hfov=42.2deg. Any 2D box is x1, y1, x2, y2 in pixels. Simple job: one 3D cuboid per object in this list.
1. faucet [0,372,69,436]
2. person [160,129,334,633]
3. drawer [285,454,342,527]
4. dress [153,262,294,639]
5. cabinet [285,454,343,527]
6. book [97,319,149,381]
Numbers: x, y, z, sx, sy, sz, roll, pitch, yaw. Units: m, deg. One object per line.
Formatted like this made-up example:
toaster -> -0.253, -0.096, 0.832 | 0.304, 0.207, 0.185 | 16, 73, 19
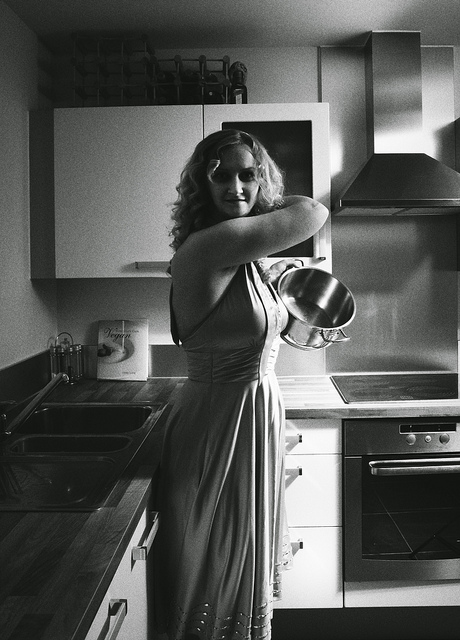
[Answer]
faucet -> -0.575, 0.249, 1.742 | 0.045, 0.106, 0.307 | 2, 35, 16
person -> 0.014, 0.158, 1.282 | 0.339, 1.111, 0.278 | -1, 6, -8
drawer -> 0.259, 0.540, 1.972 | 0.216, 0.213, 0.209 | -1, -3, -1
dress -> -0.022, 0.301, 1.301 | 0.294, 0.851, 0.181 | -1, 6, -9
cabinet -> 0.268, 0.535, 1.966 | 0.217, 0.217, 0.209 | -1, -2, -1
book -> -0.409, 0.124, 2.290 | 0.213, 0.274, 0.028 | -2, -15, 0
